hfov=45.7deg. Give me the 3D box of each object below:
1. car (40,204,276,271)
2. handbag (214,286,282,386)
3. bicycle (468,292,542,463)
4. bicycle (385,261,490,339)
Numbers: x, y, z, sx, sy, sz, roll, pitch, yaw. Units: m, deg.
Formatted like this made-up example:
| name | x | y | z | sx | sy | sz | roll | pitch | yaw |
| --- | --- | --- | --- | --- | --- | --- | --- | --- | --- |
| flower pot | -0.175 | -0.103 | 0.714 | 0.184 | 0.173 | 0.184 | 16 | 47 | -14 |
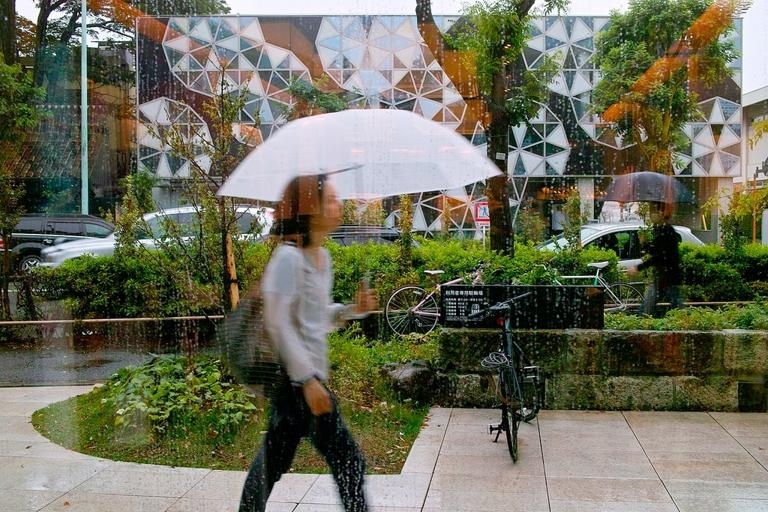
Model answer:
| name | x | y | z | sx | sy | sz | roll | pitch | yaw |
| --- | --- | --- | --- | --- | --- | --- | --- | --- | --- |
| car | -2.770 | -0.273 | 11.266 | 2.519 | 0.931 | 1.072 | 1 | 4 | -3 |
| handbag | -1.214 | 0.807 | 8.222 | 0.323 | 0.826 | 0.645 | -7 | -8 | -5 |
| bicycle | 1.459 | 1.332 | 10.590 | 0.747 | 1.779 | 1.376 | 1 | 2 | 10 |
| bicycle | 0.753 | 0.724 | 13.328 | 1.580 | 0.967 | 0.789 | -2 | 1 | 7 |
